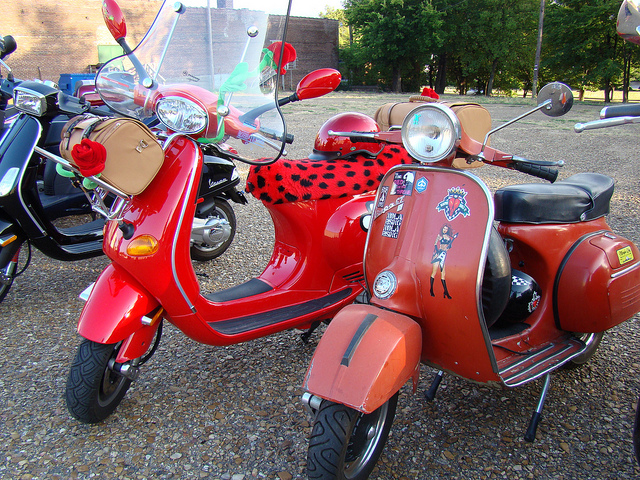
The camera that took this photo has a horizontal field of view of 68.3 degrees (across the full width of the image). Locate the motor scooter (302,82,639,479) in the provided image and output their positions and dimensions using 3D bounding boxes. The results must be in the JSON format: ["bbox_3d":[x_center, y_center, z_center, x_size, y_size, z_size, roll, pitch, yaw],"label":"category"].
[{"bbox_3d":[0.745,0.144,2.167,1.877,1.613,0.772,-9,30,-22],"label":"motor scooter"}]
